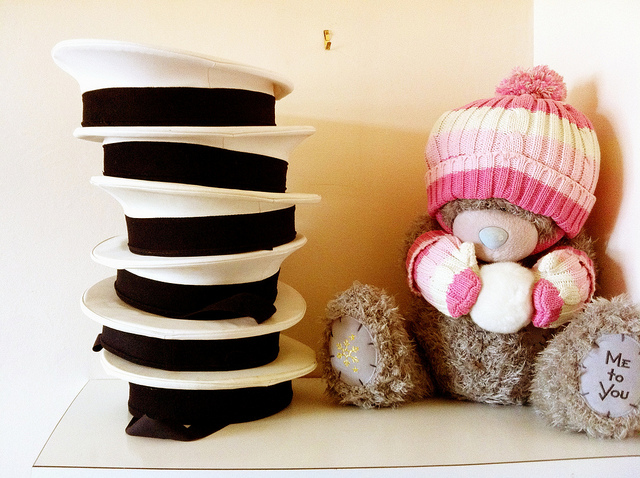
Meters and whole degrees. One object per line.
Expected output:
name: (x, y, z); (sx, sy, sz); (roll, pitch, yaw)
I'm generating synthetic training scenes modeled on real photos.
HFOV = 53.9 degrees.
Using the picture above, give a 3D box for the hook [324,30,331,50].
hook: (0.020, -0.533, 1.692); (0.017, 0.049, 0.013); (-6, 21, -9)

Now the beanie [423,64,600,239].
beanie: (0.479, -0.232, 1.634); (0.422, 0.431, 0.400); (6, 4, -33)

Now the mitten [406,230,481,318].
mitten: (0.336, 0.083, 1.545); (0.090, 0.159, 0.189); (22, 27, -43)

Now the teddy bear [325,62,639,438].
teddy bear: (0.326, 0.054, 1.767); (0.889, 0.999, 0.803); (3, 9, 30)
